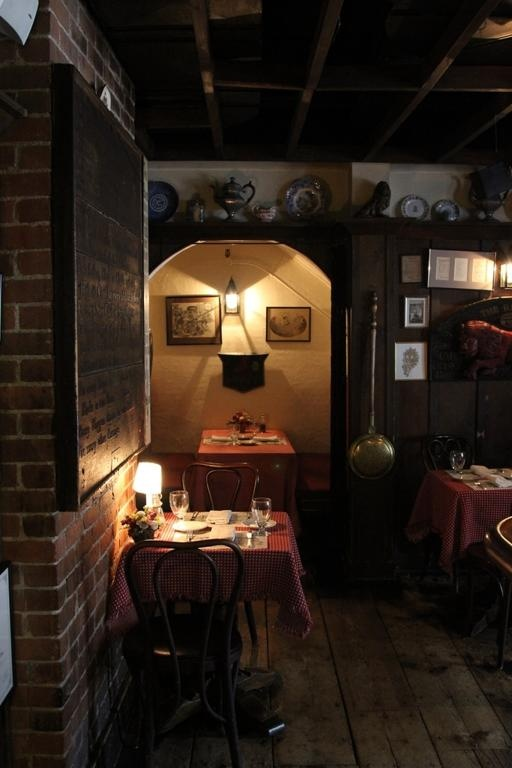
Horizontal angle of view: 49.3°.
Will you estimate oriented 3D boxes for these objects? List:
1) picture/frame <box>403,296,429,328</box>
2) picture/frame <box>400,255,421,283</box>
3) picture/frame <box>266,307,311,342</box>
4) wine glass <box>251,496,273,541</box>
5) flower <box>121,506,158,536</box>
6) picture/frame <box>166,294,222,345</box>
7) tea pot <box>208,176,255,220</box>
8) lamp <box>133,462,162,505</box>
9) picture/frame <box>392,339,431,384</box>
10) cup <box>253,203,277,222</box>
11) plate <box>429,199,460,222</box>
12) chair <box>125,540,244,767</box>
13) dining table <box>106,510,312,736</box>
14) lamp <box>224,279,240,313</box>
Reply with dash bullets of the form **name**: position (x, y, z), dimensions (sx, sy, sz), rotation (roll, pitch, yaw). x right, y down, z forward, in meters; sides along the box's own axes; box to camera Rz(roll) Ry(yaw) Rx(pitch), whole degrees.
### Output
- **picture/frame**: position (1.105, -0.506, 3.861), dimensions (0.205, 0.276, 0.028), rotation (0, 2, -6)
- **picture/frame**: position (1.064, -0.799, 3.840), dimensions (0.178, 0.253, 0.032), rotation (0, 0, -2)
- **picture/frame**: position (0.365, -0.647, 5.929), dimensions (0.352, 0.301, 0.030), rotation (0, 0, -3)
- **wine glass**: position (0.025, 0.598, 2.481), dimensions (0.121, 0.205, 0.129), rotation (0, -7, -1)
- **flower**: position (-0.454, 0.578, 2.337), dimensions (0.124, 0.091, 0.123), rotation (2, 0, 36)
- **picture/frame**: position (-0.673, -0.707, 5.911), dimensions (0.509, 0.483, 0.040), rotation (0, -1, -3)
- **tea pot**: position (-0.147, -1.291, 3.869), dimensions (0.288, 0.321, 0.229), rotation (0, 2, 0)
- **lamp**: position (-0.492, 0.453, 2.560), dimensions (0.108, 0.200, 0.248), rotation (-1, 2, -8)
- **picture/frame**: position (1.066, -0.160, 3.853), dimensions (0.300, 0.373, 0.015), rotation (0, -2, -4)
- **cup**: position (0.070, -1.192, 3.899), dimensions (0.117, 0.111, 0.170), rotation (0, -2, 0)
- **plate**: position (1.361, -1.227, 3.937), dimensions (0.217, 0.165, 0.100), rotation (0, 2, -3)
- **chair**: position (-0.273, 0.938, 2.099), dimensions (0.430, 0.900, 0.743), rotation (0, 2, -6)
- **dining table**: position (0.010, 0.909, 2.452), dimensions (0.788, 0.392, 0.806), rotation (0, 8, 10)
- **lamp**: position (-0.246, -0.913, 5.805), dimensions (0.160, 0.362, 0.222), rotation (0, 2, -3)
